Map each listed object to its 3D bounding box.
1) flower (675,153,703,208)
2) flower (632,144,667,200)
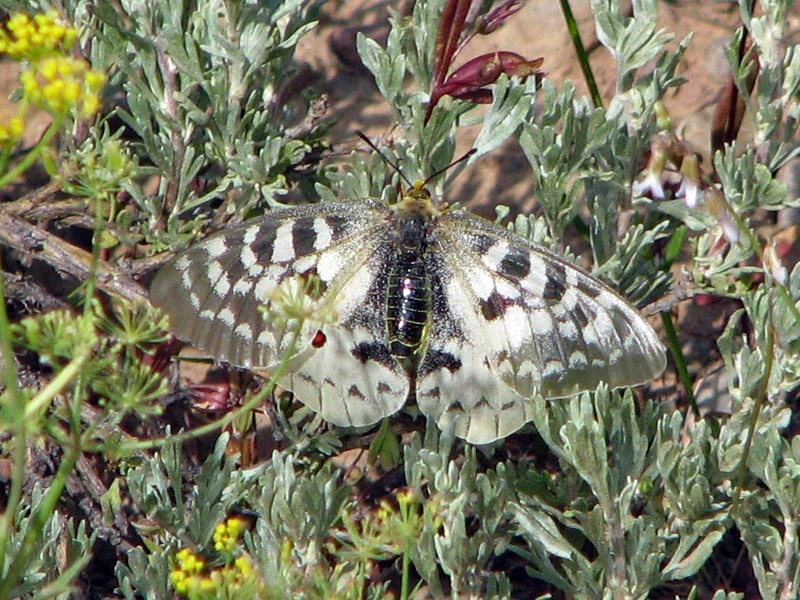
[{"bbox_3d":[1.189,-0.487,4.580,0.092,0.074,0.218,3,82,6],"label":"flower"},{"bbox_3d":[1.080,-0.515,4.726,0.147,0.178,0.292,5,70,19],"label":"flower"}]
